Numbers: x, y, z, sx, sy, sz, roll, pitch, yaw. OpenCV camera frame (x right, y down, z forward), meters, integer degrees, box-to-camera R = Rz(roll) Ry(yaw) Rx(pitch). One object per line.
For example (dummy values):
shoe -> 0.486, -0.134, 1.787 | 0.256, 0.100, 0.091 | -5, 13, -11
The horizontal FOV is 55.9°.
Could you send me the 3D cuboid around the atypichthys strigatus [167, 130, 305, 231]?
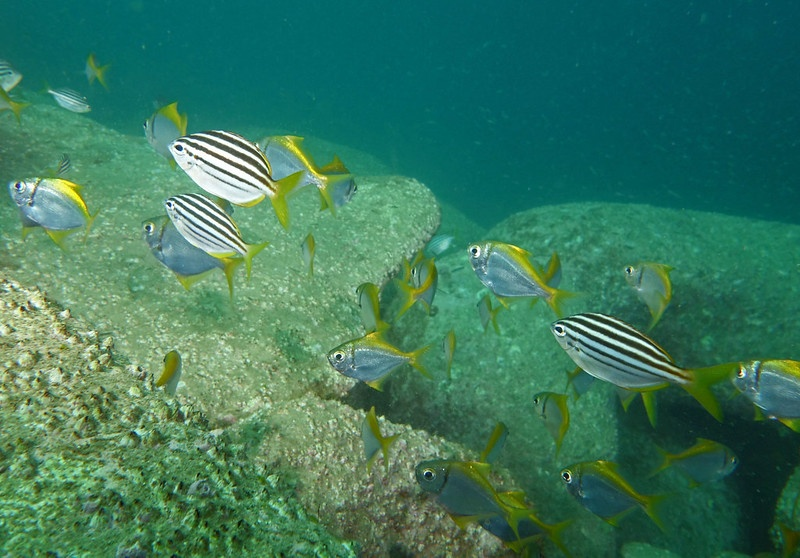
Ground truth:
atypichthys strigatus -> -1.611, -0.934, 7.238 | 1.024, 0.144, 0.528 | 29, 89, -10
